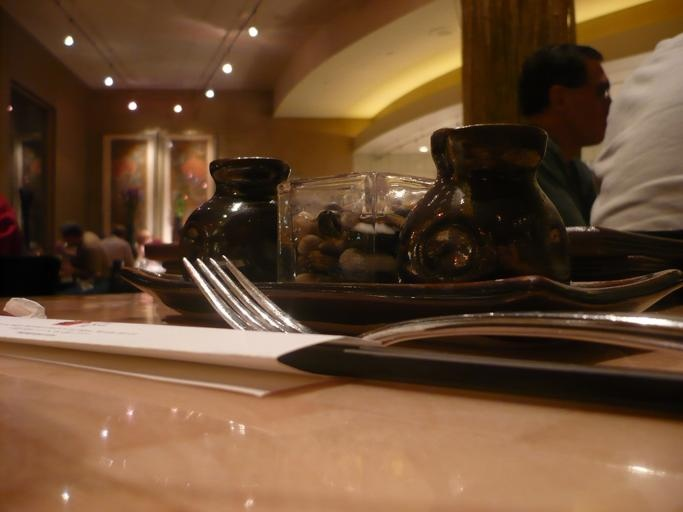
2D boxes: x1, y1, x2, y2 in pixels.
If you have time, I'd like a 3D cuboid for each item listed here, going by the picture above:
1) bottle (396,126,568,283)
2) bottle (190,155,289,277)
[{"bbox_3d":[0.107,-0.027,0.449,0.115,0.112,0.116,-2,-4,7],"label":"bottle"},{"bbox_3d":[-0.103,-0.037,0.627,0.117,0.113,0.119,-1,-12,11],"label":"bottle"}]
